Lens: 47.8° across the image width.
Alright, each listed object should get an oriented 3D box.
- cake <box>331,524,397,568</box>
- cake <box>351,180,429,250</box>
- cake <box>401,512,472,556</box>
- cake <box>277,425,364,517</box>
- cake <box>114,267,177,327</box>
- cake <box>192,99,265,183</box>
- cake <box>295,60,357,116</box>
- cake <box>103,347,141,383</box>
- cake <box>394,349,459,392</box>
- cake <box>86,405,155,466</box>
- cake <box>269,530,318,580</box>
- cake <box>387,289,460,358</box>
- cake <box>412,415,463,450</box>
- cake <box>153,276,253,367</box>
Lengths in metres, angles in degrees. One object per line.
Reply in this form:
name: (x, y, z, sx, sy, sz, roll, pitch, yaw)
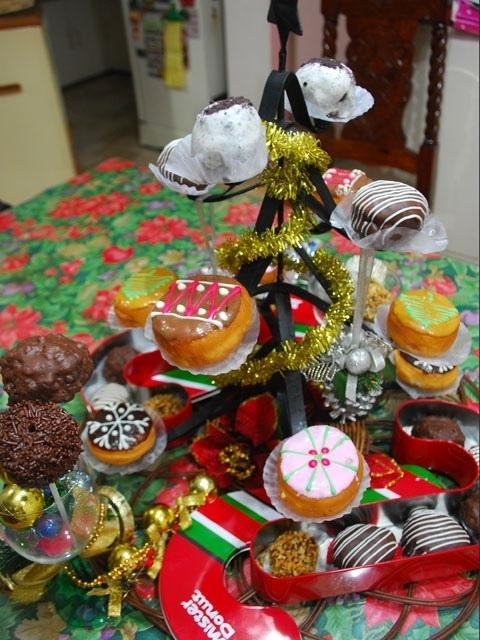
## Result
cake: (0.138, 0.259, 0.610, 0.072, 0.037, 0.054, 2, 36, 9)
cake: (0.155, -0.106, 0.589, 0.076, 0.037, 0.066, -24, 51, -20)
cake: (0.216, 0.239, 0.609, 0.055, 0.030, 0.052, -7, 11, -23)
cake: (0.089, 0.174, 0.615, 0.094, 0.065, 0.091, -13, 36, -13)
cake: (-0.134, -0.029, 0.823, 0.095, 0.053, 0.090, 8, 51, 15)
cake: (0.005, -0.187, 0.568, 0.081, 0.077, 0.082, 3, 32, 10)
cake: (0.100, -0.277, 0.635, 0.058, 0.062, 0.037, 11, 30, 0)
cake: (-0.208, 0.073, 0.910, 0.057, 0.029, 0.052, -3, 66, -7)
cake: (0.260, 0.072, 0.772, 0.076, 0.027, 0.067, 3, 40, -3)
cake: (-0.172, 0.159, 0.770, 0.098, 0.066, 0.085, -2, 35, 3)
cake: (0.062, 0.270, 0.625, 0.060, 0.020, 0.051, -4, 35, 0)
cake: (0.256, 0.007, 0.749, 0.095, 0.063, 0.083, -26, 41, -28)
cake: (0.273, 0.150, 0.744, 0.068, 0.032, 0.074, 5, 36, 13)
cake: (-0.045, 0.006, 0.621, 0.106, 0.071, 0.095, -1, 35, 4)
